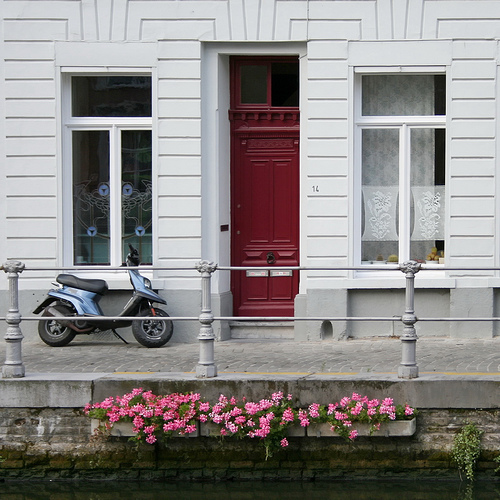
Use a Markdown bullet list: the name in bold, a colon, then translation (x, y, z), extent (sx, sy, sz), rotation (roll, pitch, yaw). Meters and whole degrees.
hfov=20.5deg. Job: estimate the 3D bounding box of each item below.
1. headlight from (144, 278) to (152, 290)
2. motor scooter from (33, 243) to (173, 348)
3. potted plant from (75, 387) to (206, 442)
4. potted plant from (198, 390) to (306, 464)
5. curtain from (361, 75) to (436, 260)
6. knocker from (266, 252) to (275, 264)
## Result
- **headlight**: translation (-1.203, 0.400, 16.088), extent (0.091, 0.118, 0.038), rotation (-5, 9, 26)
- **motor scooter**: translation (-1.689, 0.554, 15.925), extent (1.654, 1.109, 0.603), rotation (1, -9, 12)
- **potted plant**: translation (-1.107, 1.513, 13.192), extent (0.901, 0.356, 0.484), rotation (6, -4, -6)
- **potted plant**: translation (0.041, 1.632, 13.281), extent (0.844, 0.524, 0.723), rotation (2, -6, 8)
- **curtain**: translation (1.792, -0.980, 16.663), extent (0.912, 2.218, 0.177), rotation (-1, 3, 6)
- **knocker**: translation (0.245, 0.105, 16.803), extent (0.101, 0.135, 0.072), rotation (-1, 3, 7)
